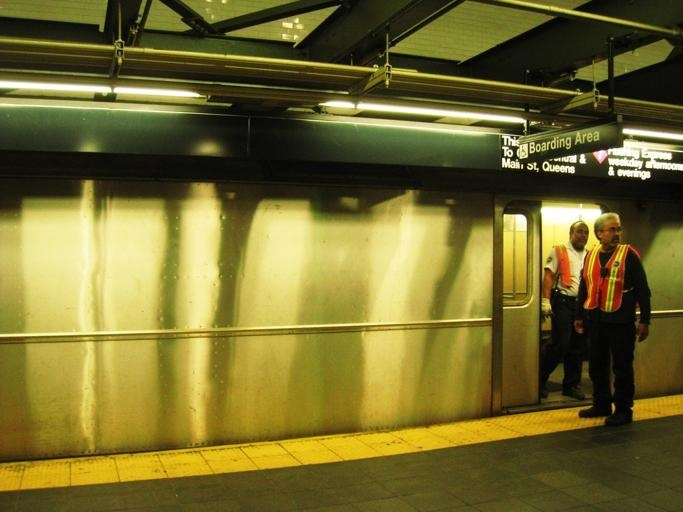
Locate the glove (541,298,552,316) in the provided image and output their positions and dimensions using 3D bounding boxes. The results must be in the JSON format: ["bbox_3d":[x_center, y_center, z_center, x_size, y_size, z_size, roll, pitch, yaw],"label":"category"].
[{"bbox_3d":[2.723,0.675,9.326,0.273,0.234,0.110,-7,10,-44],"label":"glove"}]

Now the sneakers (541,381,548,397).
[{"bbox_3d":[2.715,1.771,9.398,0.099,0.190,0.332,3,8,16],"label":"sneakers"}]

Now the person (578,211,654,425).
[{"bbox_3d":[3.201,0.743,8.365,0.853,2.479,0.510,5,8,32],"label":"person"}]

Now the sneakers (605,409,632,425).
[{"bbox_3d":[3.260,1.920,8.298,0.366,0.147,0.130,5,-9,-26],"label":"sneakers"}]

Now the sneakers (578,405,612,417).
[{"bbox_3d":[3.071,1.895,8.603,0.434,0.164,0.151,2,0,-2],"label":"sneakers"}]
